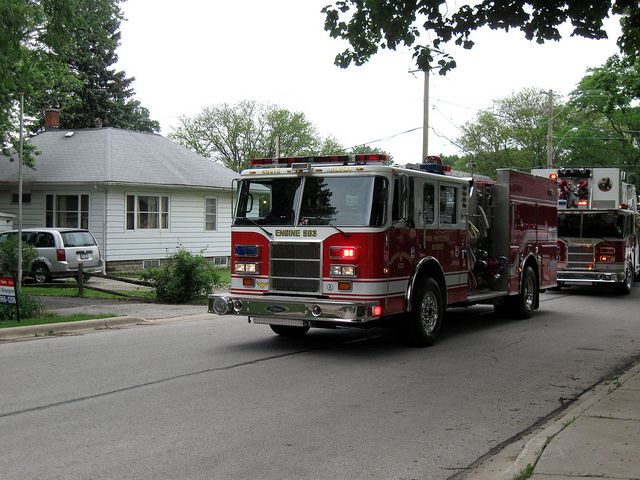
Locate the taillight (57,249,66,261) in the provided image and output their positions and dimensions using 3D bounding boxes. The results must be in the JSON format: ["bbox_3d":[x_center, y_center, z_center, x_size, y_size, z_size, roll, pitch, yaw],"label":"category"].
[{"bbox_3d":[-9.068,0.572,19.470,0.378,0.524,0.054,2,-4,-29],"label":"taillight"}]

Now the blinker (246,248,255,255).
[{"bbox_3d":[-1.301,0.234,10.337,0.193,0.116,0.019,2,3,27],"label":"blinker"}]

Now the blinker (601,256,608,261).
[{"bbox_3d":[10.190,0.711,19.960,0.143,0.152,0.035,4,4,18],"label":"blinker"}]

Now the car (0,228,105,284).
[{"bbox_3d":[-9.881,0.356,20.145,3.853,1.612,2.212,3,0,24],"label":"car"}]
